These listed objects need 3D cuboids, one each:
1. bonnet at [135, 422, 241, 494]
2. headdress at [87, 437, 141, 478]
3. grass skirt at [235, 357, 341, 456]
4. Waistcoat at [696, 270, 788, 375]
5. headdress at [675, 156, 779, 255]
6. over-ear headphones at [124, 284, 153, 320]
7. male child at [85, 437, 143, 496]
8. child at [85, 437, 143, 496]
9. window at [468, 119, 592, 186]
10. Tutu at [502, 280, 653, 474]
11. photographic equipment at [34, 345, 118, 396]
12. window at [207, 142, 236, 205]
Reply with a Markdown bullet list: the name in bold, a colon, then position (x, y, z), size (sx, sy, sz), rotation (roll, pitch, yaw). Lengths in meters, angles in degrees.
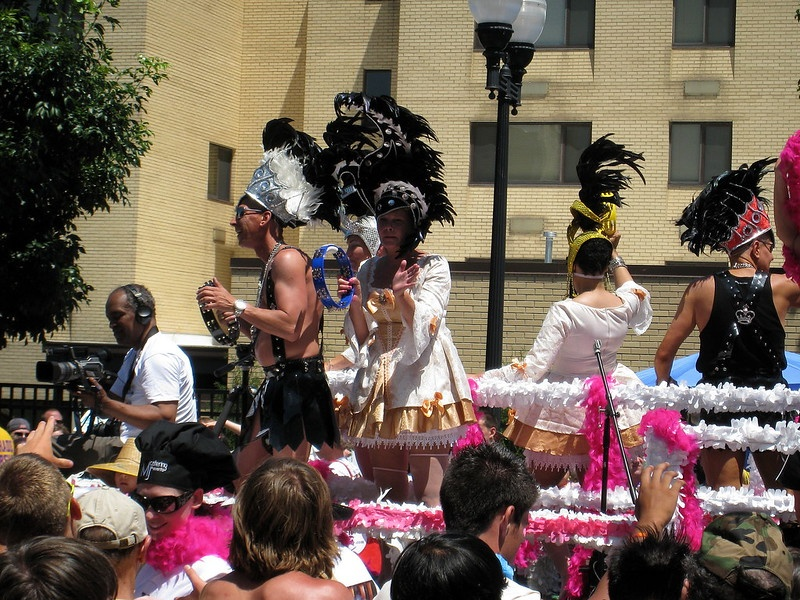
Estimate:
- **bonnet**: position (-1.300, 0.877, 7.930), size (0.706, 0.351, 0.798), rotation (-17, -1, -7)
- **headdress**: position (-1.937, 1.115, 8.629), size (0.375, 0.175, 0.354), rotation (6, -26, 1)
- **grass skirt**: position (-0.783, 0.718, 9.064), size (0.543, 0.691, 0.808), rotation (2, -6, -37)
- **Waistcoat**: position (2.509, 0.206, 9.081), size (0.837, 0.981, 0.706), rotation (1, -6, 11)
- **headdress**: position (2.477, -0.747, 9.445), size (0.415, 0.734, 0.779), rotation (8, 0, 7)
- **over-ear headphones**: position (-1.995, 0.051, 9.552), size (0.144, 0.296, 0.342), rotation (-16, -7, -17)
- **male child**: position (-1.906, 1.163, 8.727), size (0.454, 0.230, 0.434), rotation (14, -29, 10)
- **child**: position (-1.926, 1.188, 8.702), size (0.454, 0.230, 0.434), rotation (14, -29, 10)
- **window**: position (2.266, -2.464, 20.869), size (2.321, 1.117, 0.078), rotation (-3, 8, -24)
- **Tutu**: position (1.333, 0.557, 9.183), size (1.203, 1.412, 0.637), rotation (4, 0, -26)
- **photographic equipment**: position (-2.279, 0.465, 8.745), size (0.394, 0.274, 0.563), rotation (3, 0, 30)
- **window**: position (-3.411, -2.439, 23.653), size (0.083, 1.174, 1.263), rotation (1, -5, 21)
